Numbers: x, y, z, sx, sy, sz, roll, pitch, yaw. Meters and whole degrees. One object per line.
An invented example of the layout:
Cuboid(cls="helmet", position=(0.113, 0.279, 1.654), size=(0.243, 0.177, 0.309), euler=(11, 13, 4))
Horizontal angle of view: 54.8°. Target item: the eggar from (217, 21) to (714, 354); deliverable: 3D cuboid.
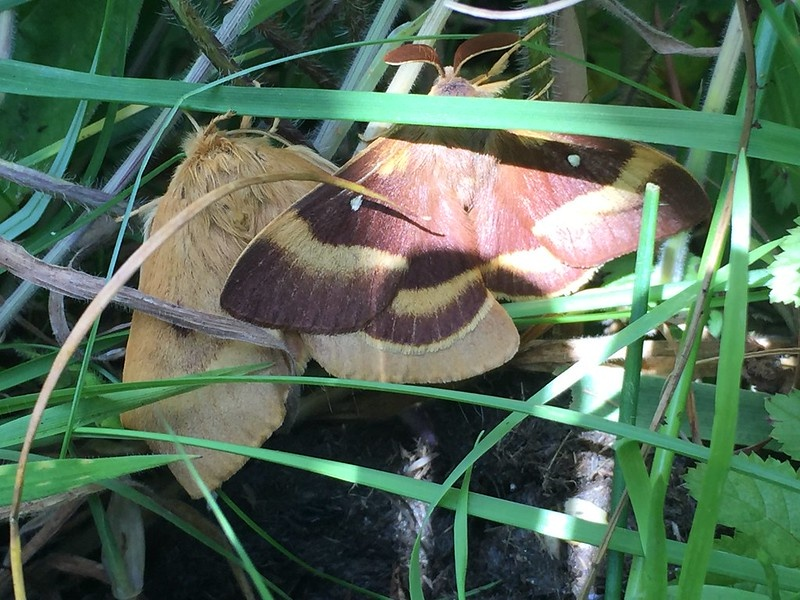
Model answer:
Cuboid(cls="eggar", position=(0.067, -0.103, 1.124), size=(0.634, 0.141, 0.334), euler=(-31, 84, -5))
